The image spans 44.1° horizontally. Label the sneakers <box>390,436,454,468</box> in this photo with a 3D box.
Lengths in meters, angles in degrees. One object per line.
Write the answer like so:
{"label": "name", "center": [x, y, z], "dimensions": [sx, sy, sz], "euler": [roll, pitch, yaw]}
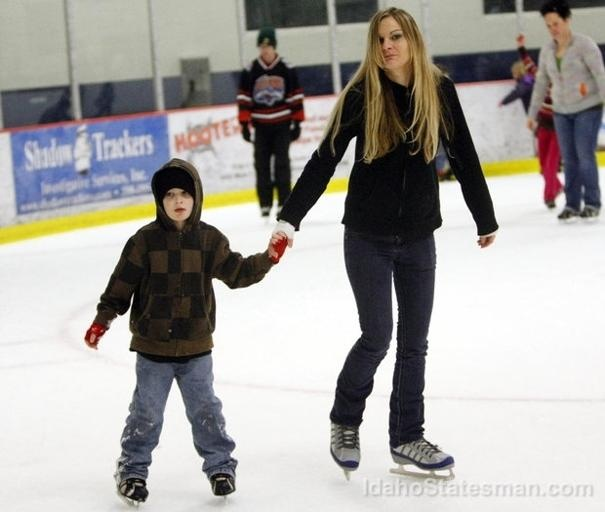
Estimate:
{"label": "sneakers", "center": [0.368, 0.597, 2.305], "dimensions": [0.197, 0.086, 0.075], "euler": [-4, -5, 35]}

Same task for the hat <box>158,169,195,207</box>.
{"label": "hat", "center": [-0.383, -0.212, 2.291], "dimensions": [0.092, 0.115, 0.124], "euler": [-1, -3, 0]}

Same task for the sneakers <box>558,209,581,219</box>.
{"label": "sneakers", "center": [2.158, -0.351, 6.064], "dimensions": [0.137, 0.063, 0.085], "euler": [0, -12, -34]}

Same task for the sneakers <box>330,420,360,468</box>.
{"label": "sneakers", "center": [0.128, 0.568, 2.298], "dimensions": [0.053, 0.066, 0.163], "euler": [1, 34, -10]}

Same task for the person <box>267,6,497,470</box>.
{"label": "person", "center": [0.261, -0.037, 2.268], "dimensions": [0.690, 1.403, 0.388], "euler": [-3, 12, 7]}

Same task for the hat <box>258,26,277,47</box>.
{"label": "hat", "center": [-0.315, -2.043, 6.958], "dimensions": [0.146, 0.184, 0.204], "euler": [0, -16, 5]}

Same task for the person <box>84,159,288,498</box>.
{"label": "person", "center": [-0.340, 0.204, 2.184], "dimensions": [0.567, 0.951, 0.358], "euler": [-7, 12, -16]}
